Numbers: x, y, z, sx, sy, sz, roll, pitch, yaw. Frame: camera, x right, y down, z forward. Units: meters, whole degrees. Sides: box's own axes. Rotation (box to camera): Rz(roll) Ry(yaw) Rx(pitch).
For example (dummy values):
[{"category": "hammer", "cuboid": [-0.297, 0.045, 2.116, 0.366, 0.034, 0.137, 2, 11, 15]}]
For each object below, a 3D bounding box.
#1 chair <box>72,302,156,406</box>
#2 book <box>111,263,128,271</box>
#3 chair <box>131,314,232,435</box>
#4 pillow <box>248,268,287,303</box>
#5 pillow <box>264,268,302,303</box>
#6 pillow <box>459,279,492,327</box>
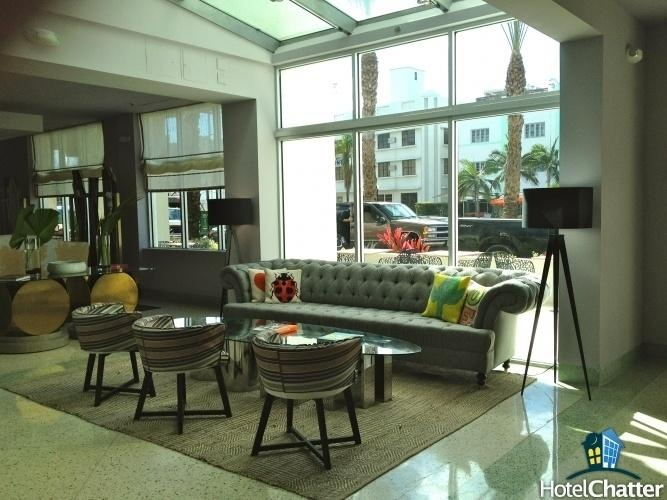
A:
[{"category": "chair", "cuboid": [-2.051, 0.922, 5.282, 0.647, 0.899, 0.787, -4, 8, -28]}, {"category": "book", "cuboid": [-2.833, 0.237, 7.526, 0.139, 0.055, 0.192, 1, 3, 15]}, {"category": "chair", "cuboid": [-1.263, 0.984, 4.729, 0.793, 0.798, 0.718, -1, -3, 24]}, {"category": "pillow", "cuboid": [-0.869, 0.376, 7.072, 0.352, 0.342, 0.134, -10, -3, 25]}, {"category": "pillow", "cuboid": [-0.620, 0.444, 7.034, 0.468, 0.439, 0.175, 0, -1, -10]}, {"category": "pillow", "cuboid": [1.364, 0.530, 5.518, 0.133, 0.345, 0.274, 20, -36, -3]}]
